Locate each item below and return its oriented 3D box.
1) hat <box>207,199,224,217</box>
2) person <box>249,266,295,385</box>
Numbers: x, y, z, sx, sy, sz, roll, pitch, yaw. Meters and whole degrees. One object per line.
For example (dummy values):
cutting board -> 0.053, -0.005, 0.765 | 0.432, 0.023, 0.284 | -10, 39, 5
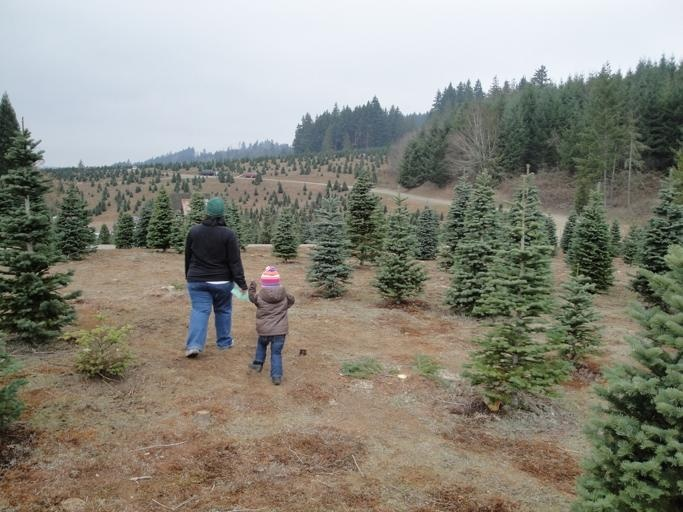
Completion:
hat -> -2.511, -0.994, 10.248 | 0.352, 0.360, 0.412 | 14, 14, 32
person -> -1.402, 1.295, 9.709 | 0.771, 2.142, 0.624 | 2, 8, 10
